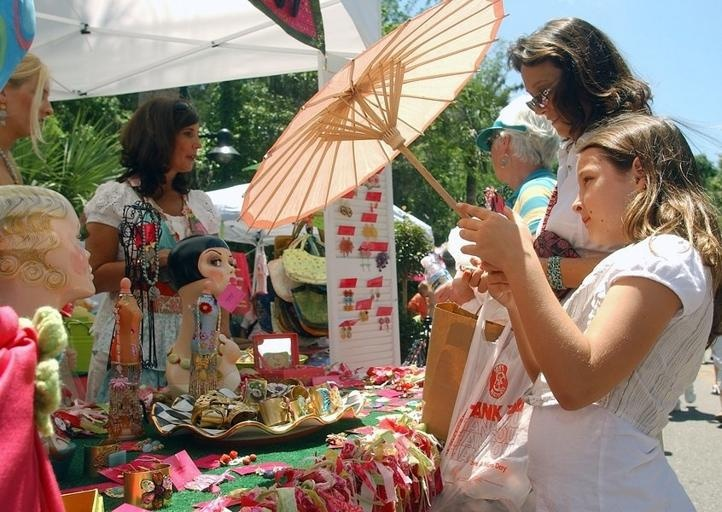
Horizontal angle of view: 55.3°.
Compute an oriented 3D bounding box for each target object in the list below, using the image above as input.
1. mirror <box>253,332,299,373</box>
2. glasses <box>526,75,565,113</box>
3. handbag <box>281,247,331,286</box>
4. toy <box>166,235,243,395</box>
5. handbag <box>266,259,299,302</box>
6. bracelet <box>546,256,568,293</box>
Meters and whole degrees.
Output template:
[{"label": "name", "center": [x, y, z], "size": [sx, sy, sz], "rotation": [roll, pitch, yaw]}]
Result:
[{"label": "mirror", "center": [-0.418, 0.488, 3.402], "size": [0.228, 0.212, 0.176], "rotation": [3, -18, -21]}, {"label": "glasses", "center": [0.776, -0.680, 2.900], "size": [0.109, 0.035, 0.103], "rotation": [-41, 0, -20]}, {"label": "handbag", "center": [-0.526, 0.091, 6.240], "size": [0.386, 0.269, 0.417], "rotation": [4, 3, -8]}, {"label": "toy", "center": [-0.715, 0.249, 3.115], "size": [0.342, 0.682, 0.432], "rotation": [2, 4, -37]}, {"label": "handbag", "center": [-0.739, 0.213, 6.335], "size": [0.257, 0.423, 0.080], "rotation": [-8, -13, -8]}, {"label": "bracelet", "center": [0.783, 0.073, 2.840], "size": [0.126, 0.139, 0.082], "rotation": [-4, -3, -29]}]
